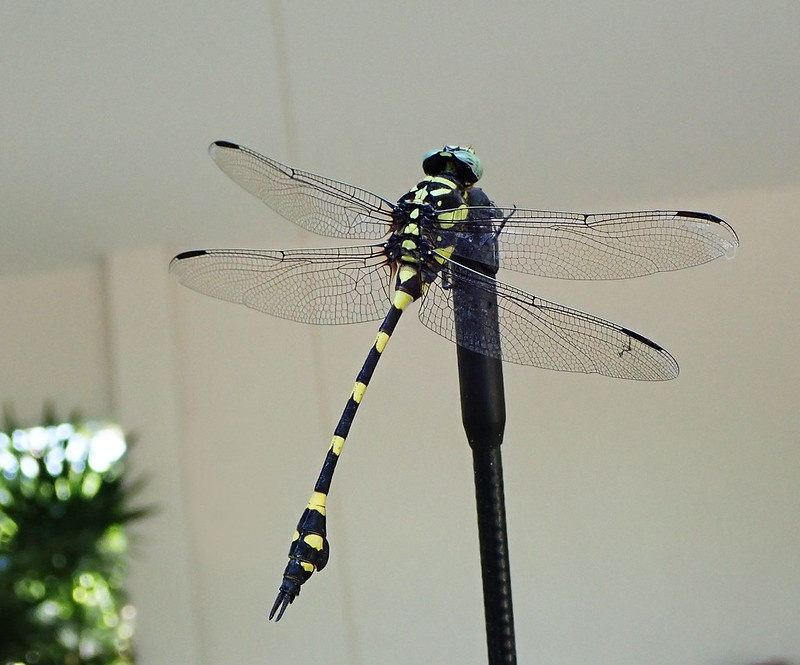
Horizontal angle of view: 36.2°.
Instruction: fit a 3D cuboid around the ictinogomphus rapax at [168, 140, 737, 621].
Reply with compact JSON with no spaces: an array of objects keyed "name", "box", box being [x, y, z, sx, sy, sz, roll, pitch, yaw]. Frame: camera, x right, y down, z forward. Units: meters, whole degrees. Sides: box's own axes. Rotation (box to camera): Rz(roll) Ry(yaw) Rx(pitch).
[{"name":"ictinogomphus rapax","box":[-0.034,0.048,1.864,0.892,0.745,0.351,13,-42,15]}]
